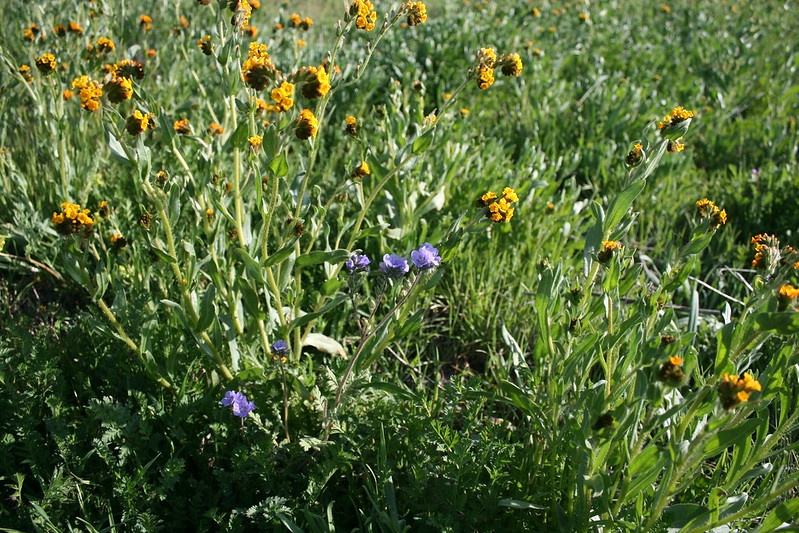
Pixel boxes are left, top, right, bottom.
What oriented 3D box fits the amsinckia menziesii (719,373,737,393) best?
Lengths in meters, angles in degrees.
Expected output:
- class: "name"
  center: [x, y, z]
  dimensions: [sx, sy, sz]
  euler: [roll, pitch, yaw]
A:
- class: "amsinckia menziesii"
  center: [1.250, 0.445, 2.910]
  dimensions: [0.050, 0.070, 0.101]
  euler: [14, -11, 13]
